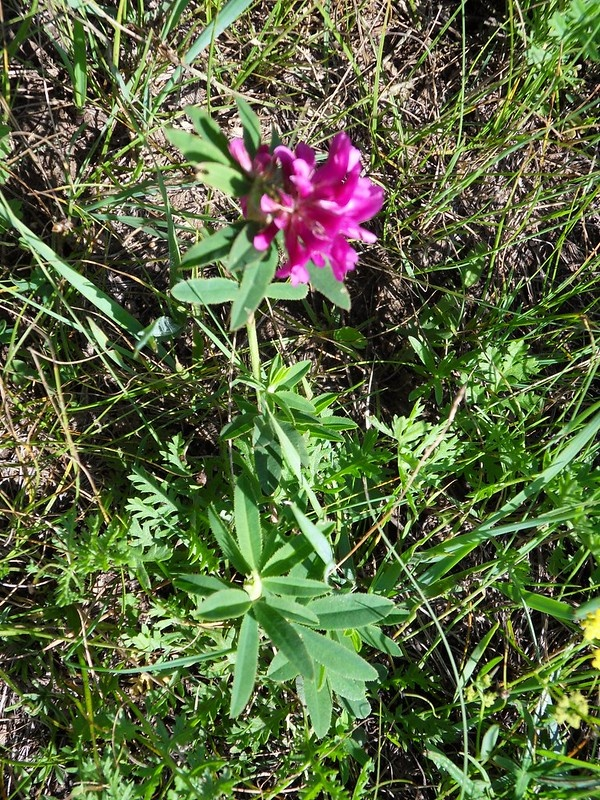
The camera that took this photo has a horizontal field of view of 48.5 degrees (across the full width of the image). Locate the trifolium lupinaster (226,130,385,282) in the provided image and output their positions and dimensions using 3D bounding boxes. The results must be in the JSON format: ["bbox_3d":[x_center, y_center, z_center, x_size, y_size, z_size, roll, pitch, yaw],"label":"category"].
[{"bbox_3d":[0.021,-0.417,1.468,0.298,0.359,0.318,-11,70,-3],"label":"trifolium lupinaster"}]
